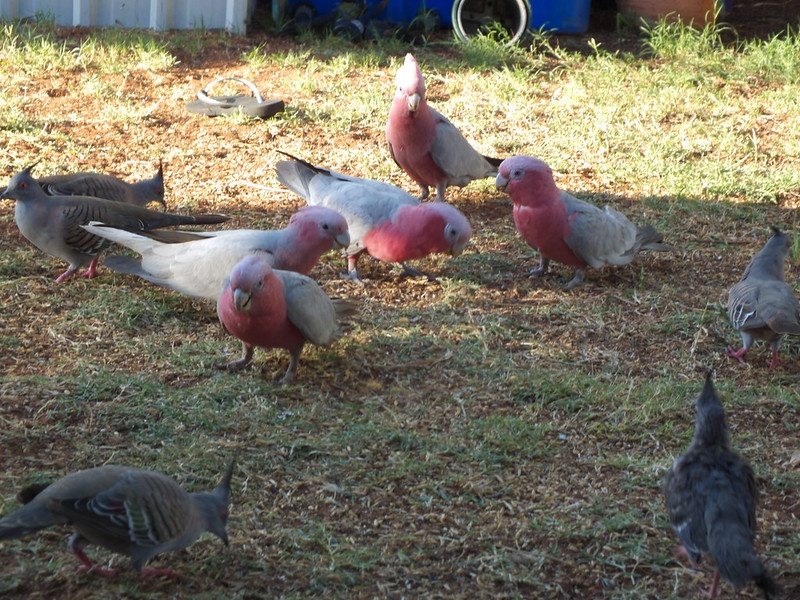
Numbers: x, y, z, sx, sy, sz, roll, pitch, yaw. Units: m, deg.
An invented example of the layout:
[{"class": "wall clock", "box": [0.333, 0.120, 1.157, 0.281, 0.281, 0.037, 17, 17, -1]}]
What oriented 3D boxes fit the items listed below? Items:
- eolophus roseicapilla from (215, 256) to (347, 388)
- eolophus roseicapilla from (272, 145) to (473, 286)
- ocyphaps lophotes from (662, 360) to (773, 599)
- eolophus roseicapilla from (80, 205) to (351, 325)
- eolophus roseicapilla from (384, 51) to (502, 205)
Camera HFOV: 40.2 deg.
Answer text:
[{"class": "eolophus roseicapilla", "box": [-0.731, 0.117, 6.774, 0.711, 0.809, 0.345, -2, 19, -25]}, {"class": "eolophus roseicapilla", "box": [-0.264, -0.620, 8.308, 2.010, 0.791, 0.652, 27, 33, 35]}, {"class": "ocyphaps lophotes", "box": [1.721, 1.030, 5.953, 0.945, 0.912, 0.611, -10, 24, -35]}, {"class": "eolophus roseicapilla", "box": [-1.248, -0.261, 7.528, 2.029, 1.056, 0.618, 11, 16, 18]}, {"class": "eolophus roseicapilla", "box": [0.369, -1.446, 9.426, 0.635, 1.178, 1.593, 5, 13, 29]}]
